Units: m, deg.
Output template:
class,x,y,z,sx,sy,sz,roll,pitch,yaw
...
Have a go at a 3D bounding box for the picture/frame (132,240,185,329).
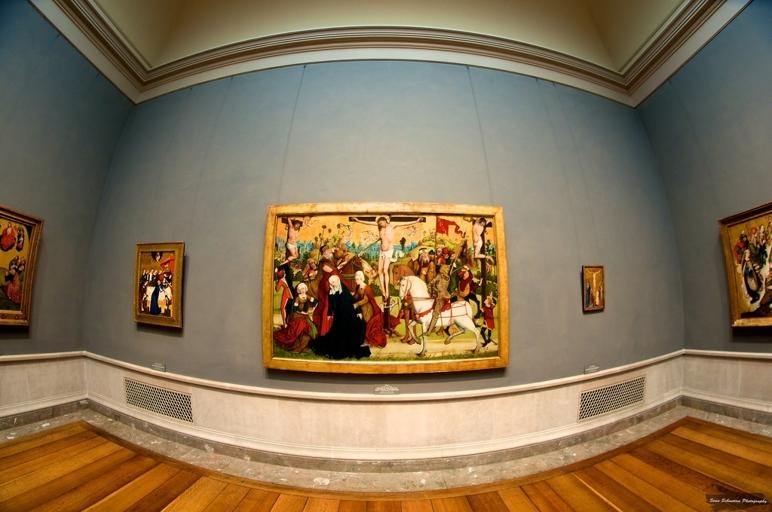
class,x,y,z,sx,sy,sz,roll,pitch,yaw
picture/frame,-3.208,0.423,6.286,0.856,1.218,0.115,-4,-5,18
